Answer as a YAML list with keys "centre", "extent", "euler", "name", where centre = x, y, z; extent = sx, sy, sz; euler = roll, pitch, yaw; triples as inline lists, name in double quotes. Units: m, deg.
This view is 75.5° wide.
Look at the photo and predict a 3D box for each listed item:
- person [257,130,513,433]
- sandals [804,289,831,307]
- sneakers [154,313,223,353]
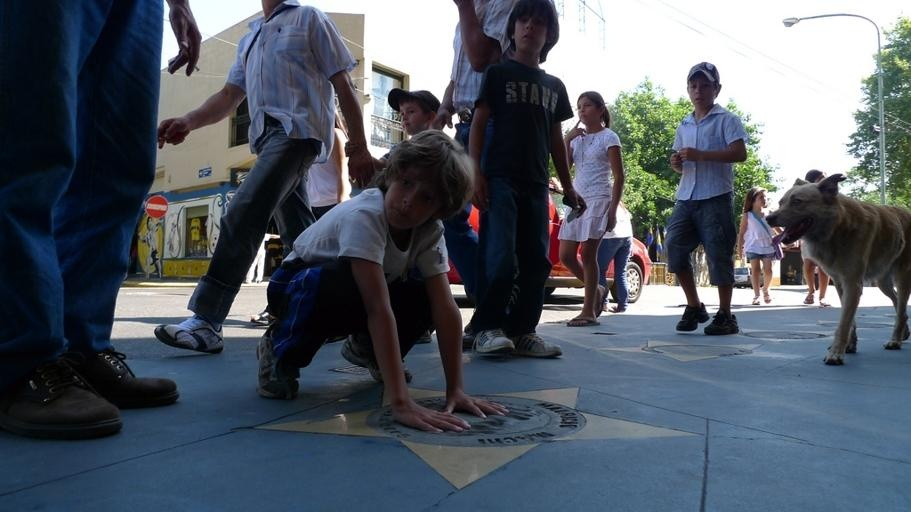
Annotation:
- centre: [-0.385, 0.064, 3.057]
  extent: [1.272, 1.407, 0.650]
  euler: [5, 9, 26]
  name: "person"
- centre: [5.821, 0.697, 9.588]
  extent: [0.233, 0.250, 0.650]
  euler: [1, -3, -27]
  name: "sandals"
- centre: [-1.777, 0.541, 4.115]
  extent: [0.569, 0.277, 0.198]
  euler: [18, -16, -35]
  name: "sneakers"
